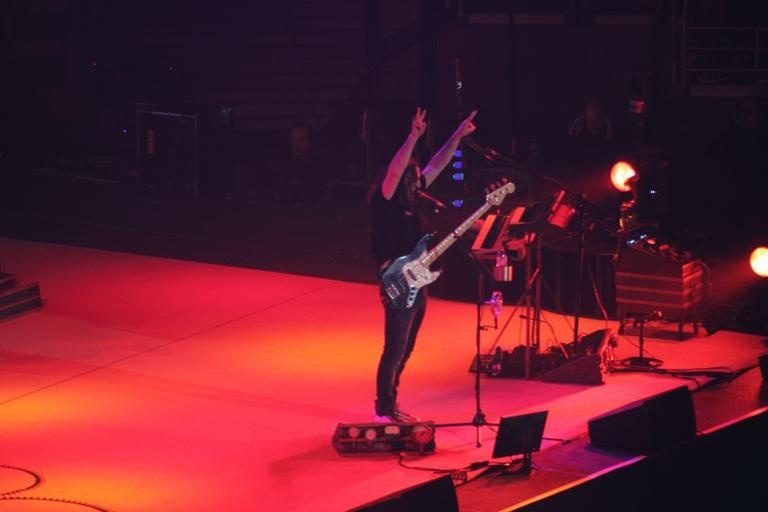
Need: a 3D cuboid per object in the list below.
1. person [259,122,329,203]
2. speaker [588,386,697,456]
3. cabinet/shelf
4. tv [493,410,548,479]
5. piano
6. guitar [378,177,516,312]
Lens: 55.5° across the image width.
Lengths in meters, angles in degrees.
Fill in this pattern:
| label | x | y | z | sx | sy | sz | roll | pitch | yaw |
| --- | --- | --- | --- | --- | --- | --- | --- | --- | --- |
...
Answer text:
| label | x | y | z | sx | sy | sz | roll | pitch | yaw |
| --- | --- | --- | --- | --- | --- | --- | --- | --- | --- |
| person | -1.319 | -1.420 | 11.056 | 1.072 | 1.052 | 0.563 | 8 | 17 | 28 |
| speaker | 2.101 | 1.346 | 5.968 | 0.851 | 0.517 | 0.420 | -7 | -32 | 13 |
| cabinet/shelf | 3.234 | 0.406 | 8.650 | 1.025 | 0.993 | 1.031 | 1 | 4 | -18 |
| tv | 1.128 | 1.454 | 5.777 | 0.376 | 0.363 | 0.180 | -4 | -1 | -4 |
| piano | 1.417 | -0.244 | 7.660 | 0.957 | 0.226 | 0.699 | -14 | 29 | 34 |
| guitar | 0.689 | -0.172 | 7.531 | 1.939 | 0.566 | 0.279 | -42 | 2 | 2 |
